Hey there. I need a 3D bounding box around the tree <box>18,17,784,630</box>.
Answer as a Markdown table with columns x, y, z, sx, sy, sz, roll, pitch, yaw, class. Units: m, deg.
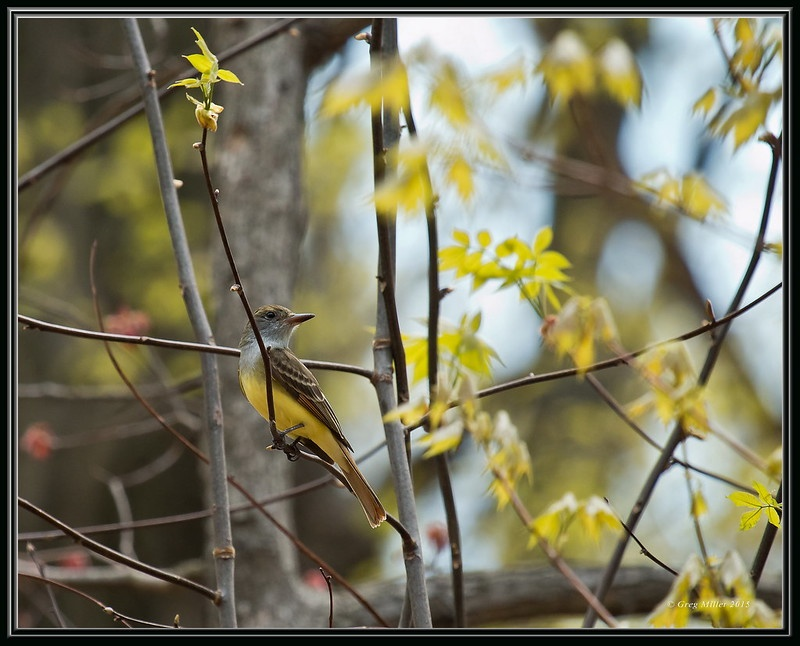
| x | y | z | sx | sy | sz | roll | pitch | yaw | class |
| --- | --- | --- | --- | --- | --- | --- | --- | --- | --- |
| -0.633 | 0.196 | 6.804 | 2.904 | 3.119 | 2.403 | 2 | -88 | 2 | tree |
